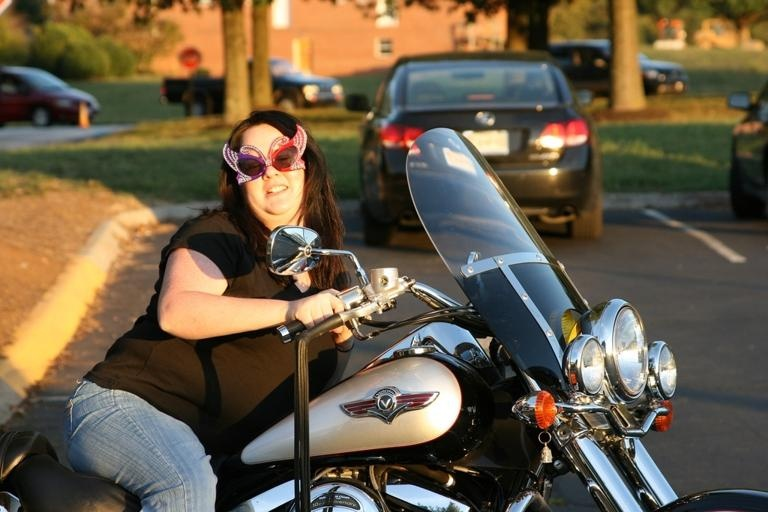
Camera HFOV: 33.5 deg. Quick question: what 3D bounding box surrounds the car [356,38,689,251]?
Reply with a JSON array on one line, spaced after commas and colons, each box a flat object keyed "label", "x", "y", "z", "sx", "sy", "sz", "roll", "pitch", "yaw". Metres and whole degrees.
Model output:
[{"label": "car", "x": 0.837, "y": -0.680, "z": 7.853, "sx": 1.260, "sy": 1.013, "sz": 2.777, "roll": -1, "pitch": 9, "yaw": 2}]
